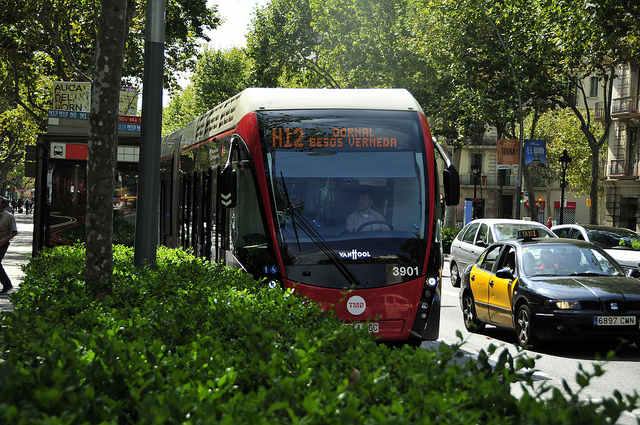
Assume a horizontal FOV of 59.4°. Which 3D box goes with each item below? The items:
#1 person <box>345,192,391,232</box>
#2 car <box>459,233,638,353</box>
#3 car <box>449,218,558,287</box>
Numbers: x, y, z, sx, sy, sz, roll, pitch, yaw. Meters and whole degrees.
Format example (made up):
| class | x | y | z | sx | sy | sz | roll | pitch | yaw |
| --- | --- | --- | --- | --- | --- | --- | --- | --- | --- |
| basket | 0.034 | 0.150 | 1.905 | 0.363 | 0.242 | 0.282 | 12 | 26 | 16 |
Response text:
| class | x | y | z | sx | sy | sz | roll | pitch | yaw |
| --- | --- | --- | --- | --- | --- | --- | --- | --- | --- |
| person | 0.726 | -0.175 | 9.197 | 0.896 | 0.869 | 0.533 | 0 | -6 | 3 |
| car | 4.365 | 1.454 | 11.084 | 2.256 | 1.713 | 4.979 | 0 | -4 | -12 |
| car | 6.273 | 1.418 | 18.548 | 2.648 | 2.527 | 5.381 | 0 | -3 | -7 |
